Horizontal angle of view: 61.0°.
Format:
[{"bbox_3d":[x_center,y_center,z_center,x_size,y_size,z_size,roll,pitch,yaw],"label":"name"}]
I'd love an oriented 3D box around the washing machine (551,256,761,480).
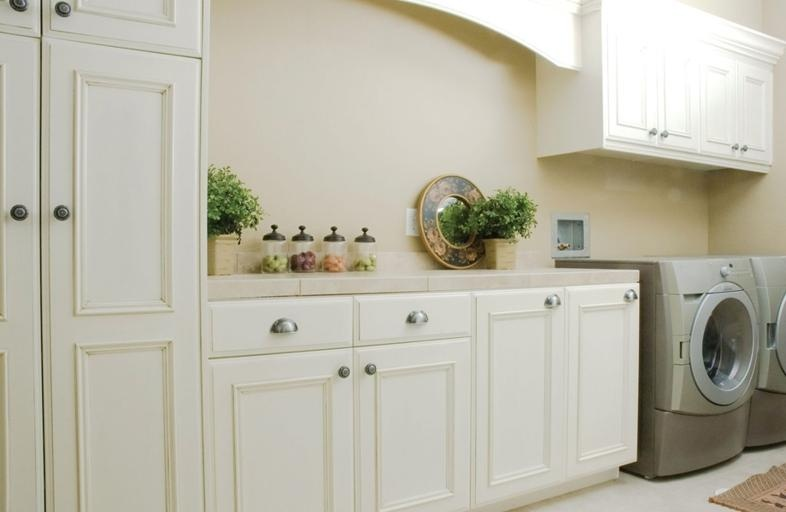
[{"bbox_3d":[1.545,0.569,4.089,1.042,1.438,1.116,0,-1,-37],"label":"washing machine"}]
